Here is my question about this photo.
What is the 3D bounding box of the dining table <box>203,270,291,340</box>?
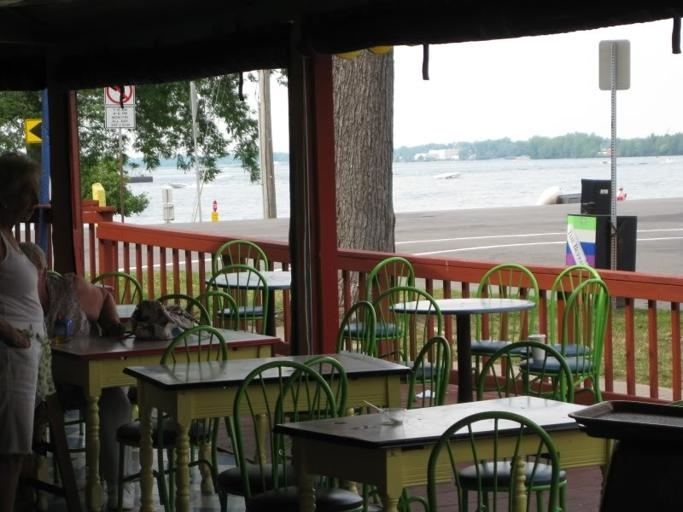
[{"bbox_3d":[-0.713,0.339,9.117,0.640,0.464,0.635,-6,10,-44],"label":"dining table"}]

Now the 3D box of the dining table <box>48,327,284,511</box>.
[{"bbox_3d":[-1.056,0.904,6.058,1.255,0.986,0.997,0,-2,-31],"label":"dining table"}]

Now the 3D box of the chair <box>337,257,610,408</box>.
[{"bbox_3d":[0.897,0.457,9.022,1.054,0.958,1.963,-10,10,-37],"label":"chair"}]
